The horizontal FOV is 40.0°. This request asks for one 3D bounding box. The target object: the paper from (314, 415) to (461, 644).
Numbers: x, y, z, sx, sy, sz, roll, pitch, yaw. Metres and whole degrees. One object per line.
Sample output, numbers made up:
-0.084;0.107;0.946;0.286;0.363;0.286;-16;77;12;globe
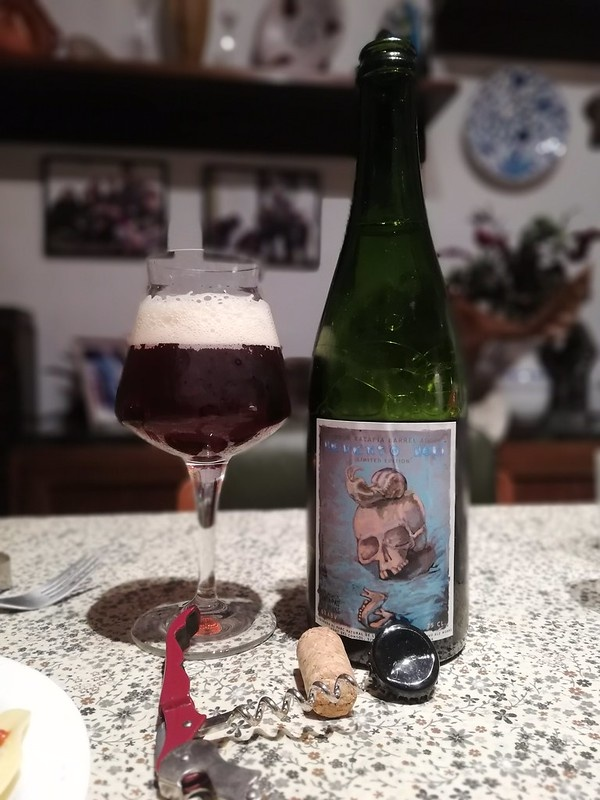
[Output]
0.066;0.100;0.629;0.108;0.168;0.047;2;9;2;paper
